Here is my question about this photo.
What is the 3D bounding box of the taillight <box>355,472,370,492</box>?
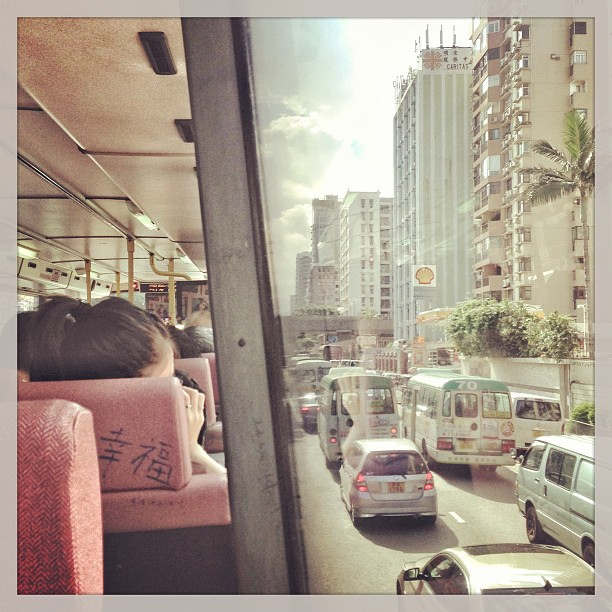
[{"bbox_3d":[0.207,0.683,2.448,0.046,0.075,0.034,2,14,9],"label":"taillight"}]

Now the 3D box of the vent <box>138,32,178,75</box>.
[{"bbox_3d":[-0.695,-1.204,2.982,0.123,0.030,0.273,0,-21,4],"label":"vent"}]

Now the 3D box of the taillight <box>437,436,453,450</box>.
[{"bbox_3d":[0.568,0.561,2.583,0.050,0.046,0.049,0,-7,1],"label":"taillight"}]

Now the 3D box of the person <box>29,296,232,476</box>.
[{"bbox_3d":[-0.949,0.415,3.037,0.887,0.955,0.801,8,2,-34],"label":"person"}]
